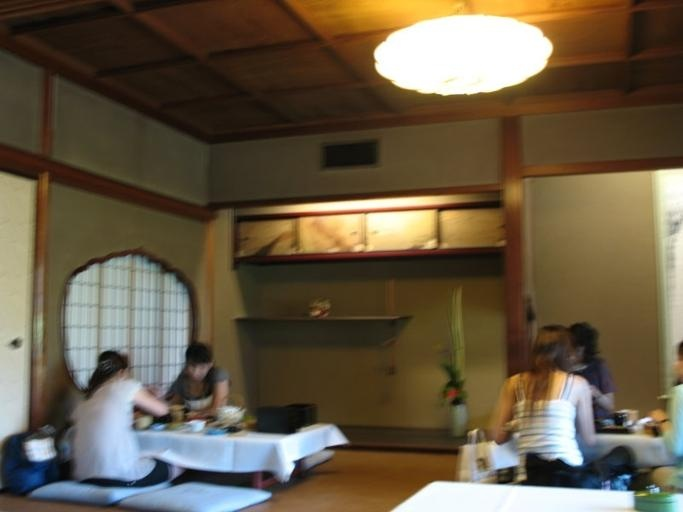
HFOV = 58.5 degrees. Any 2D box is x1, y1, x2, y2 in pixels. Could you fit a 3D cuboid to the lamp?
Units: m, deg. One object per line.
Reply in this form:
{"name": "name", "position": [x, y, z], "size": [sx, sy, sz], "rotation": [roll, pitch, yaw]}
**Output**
{"name": "lamp", "position": [0.580, -0.944, 2.843], "size": [0.539, 0.225, 0.552], "rotation": [-17, -28, 36]}

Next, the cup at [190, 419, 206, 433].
{"name": "cup", "position": [-0.841, 0.992, 3.550], "size": [0.070, 0.049, 0.055], "rotation": [-4, -5, 20]}

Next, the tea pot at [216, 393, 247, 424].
{"name": "tea pot", "position": [-0.660, 0.922, 3.645], "size": [0.142, 0.096, 0.125], "rotation": [-3, 1, -6]}

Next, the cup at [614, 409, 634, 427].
{"name": "cup", "position": [1.515, 0.860, 3.229], "size": [0.088, 0.062, 0.083], "rotation": [1, -9, 0]}

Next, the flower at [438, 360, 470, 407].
{"name": "flower", "position": [1.041, 1.159, 5.527], "size": [0.240, 0.363, 0.244], "rotation": [2, -3, 3]}

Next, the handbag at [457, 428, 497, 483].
{"name": "handbag", "position": [0.688, 0.964, 2.977], "size": [0.144, 0.261, 0.159], "rotation": [1, 9, -9]}

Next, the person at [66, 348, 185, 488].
{"name": "person", "position": [-1.205, 0.908, 3.385], "size": [0.559, 0.754, 0.310], "rotation": [3, -3, -18]}

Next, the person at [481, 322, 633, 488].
{"name": "person", "position": [0.991, 0.679, 3.087], "size": [0.706, 0.793, 0.667], "rotation": [-4, -6, 34]}
